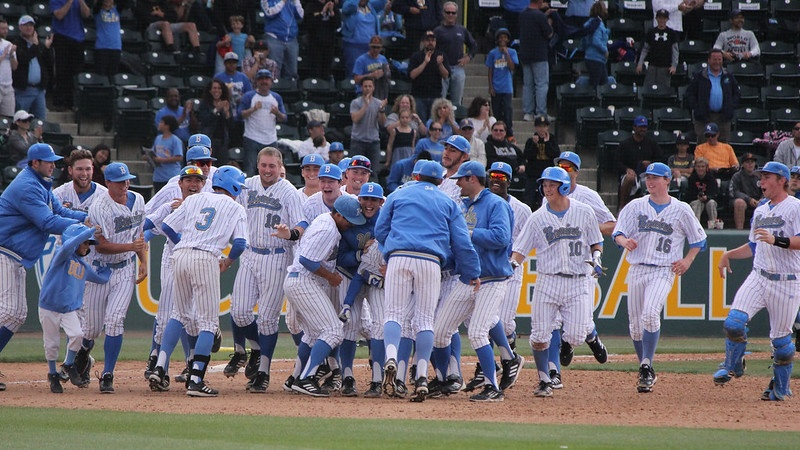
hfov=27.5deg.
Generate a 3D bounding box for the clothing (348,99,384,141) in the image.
[{"bbox_3d":[-0.775,-2.536,38.697,1.063,1.248,0.692,0,2,-10],"label":"clothing"}]

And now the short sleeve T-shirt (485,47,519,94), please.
[{"bbox_3d":[2.575,-3.872,40.566,0.788,1.131,0.494,2,0,-14],"label":"short sleeve T-shirt"}]

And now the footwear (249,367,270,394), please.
[{"bbox_3d":[-2.853,3.082,32.607,0.414,0.435,0.264,2,0,-10],"label":"footwear"}]

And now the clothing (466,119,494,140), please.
[{"bbox_3d":[1.852,-2.277,38.159,0.638,0.611,0.251,2,12,2],"label":"clothing"}]

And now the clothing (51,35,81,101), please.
[{"bbox_3d":[-8.281,-3.824,40.254,0.735,1.820,0.626,2,0,-13],"label":"clothing"}]

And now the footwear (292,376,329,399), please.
[{"bbox_3d":[-1.805,3.148,32.248,0.843,0.375,0.307,11,-3,-8],"label":"footwear"}]

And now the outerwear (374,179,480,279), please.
[{"bbox_3d":[0.620,0.131,32.438,2.582,2.180,1.637,2,-13,5],"label":"outerwear"}]

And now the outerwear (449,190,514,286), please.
[{"bbox_3d":[1.575,0.248,32.011,1.288,1.760,1.605,0,-11,-24],"label":"outerwear"}]

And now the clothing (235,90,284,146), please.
[{"bbox_3d":[-3.400,-2.582,38.582,1.270,1.349,0.753,-3,9,-34],"label":"clothing"}]

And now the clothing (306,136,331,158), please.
[{"bbox_3d":[-1.876,-1.860,38.131,0.422,0.513,0.206,2,-3,14],"label":"clothing"}]

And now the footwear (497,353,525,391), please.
[{"bbox_3d":[2.176,2.847,32.701,0.402,0.921,0.314,36,-23,-30],"label":"footwear"}]

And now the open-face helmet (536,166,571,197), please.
[{"bbox_3d":[3.145,-0.935,32.647,0.484,0.476,0.637,7,15,43],"label":"open-face helmet"}]

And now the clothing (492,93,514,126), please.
[{"bbox_3d":[2.551,-2.890,40.463,0.279,0.821,0.697,2,0,-31],"label":"clothing"}]

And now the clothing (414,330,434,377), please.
[{"bbox_3d":[0.464,2.476,31.766,0.352,0.919,0.416,2,0,2],"label":"clothing"}]

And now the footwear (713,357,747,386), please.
[{"bbox_3d":[6.756,2.810,32.862,0.989,0.410,0.324,-16,20,-40],"label":"footwear"}]

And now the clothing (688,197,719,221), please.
[{"bbox_3d":[6.974,-0.425,37.316,0.557,0.499,0.211,0,-5,-1],"label":"clothing"}]

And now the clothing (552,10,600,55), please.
[{"bbox_3d":[4.494,-4.971,41.472,1.204,1.194,0.428,1,-3,0],"label":"clothing"}]

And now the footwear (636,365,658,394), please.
[{"bbox_3d":[4.984,3.032,32.825,0.342,0.570,0.471,2,0,8],"label":"footwear"}]

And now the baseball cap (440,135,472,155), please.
[{"bbox_3d":[1.179,-1.619,32.794,0.474,0.238,0.341,24,8,-22],"label":"baseball cap"}]

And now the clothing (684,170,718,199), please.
[{"bbox_3d":[7.070,-0.951,37.985,0.760,0.712,0.280,2,0,8],"label":"clothing"}]

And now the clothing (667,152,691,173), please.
[{"bbox_3d":[6.728,-1.544,38.812,0.726,0.660,0.404,1,-7,10],"label":"clothing"}]

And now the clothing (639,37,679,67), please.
[{"bbox_3d":[6.692,-4.468,41.726,0.799,0.846,0.346,3,0,12],"label":"clothing"}]

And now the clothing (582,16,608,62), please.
[{"bbox_3d":[4.960,-4.781,41.371,0.648,1.087,0.849,-14,22,-27],"label":"clothing"}]

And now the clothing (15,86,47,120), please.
[{"bbox_3d":[-8.975,-3.008,39.531,0.797,0.810,0.202,2,0,-40],"label":"clothing"}]

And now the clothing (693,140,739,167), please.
[{"bbox_3d":[7.609,-1.711,38.999,1.042,0.642,0.766,2,0,7],"label":"clothing"}]

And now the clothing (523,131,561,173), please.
[{"bbox_3d":[3.347,-1.736,38.310,1.149,1.247,0.401,3,2,2],"label":"clothing"}]

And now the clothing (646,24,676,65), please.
[{"bbox_3d":[6.734,-4.646,41.658,0.979,1.077,0.608,1,8,3],"label":"clothing"}]

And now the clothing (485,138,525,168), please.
[{"bbox_3d":[2.478,-1.732,38.496,0.974,0.739,0.470,2,0,-5],"label":"clothing"}]

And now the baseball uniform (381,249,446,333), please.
[{"bbox_3d":[0.266,1.223,31.708,1.272,2.190,0.813,6,22,0],"label":"baseball uniform"}]

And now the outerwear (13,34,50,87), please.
[{"bbox_3d":[-8.947,-3.938,39.544,0.378,1.304,1.061,2,0,39],"label":"outerwear"}]

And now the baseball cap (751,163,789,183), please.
[{"bbox_3d":[7.532,-1.086,32.578,0.494,0.245,0.343,11,3,1],"label":"baseball cap"}]

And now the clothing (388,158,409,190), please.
[{"bbox_3d":[-0.030,-1.203,36.380,0.621,0.617,0.252,11,-13,43],"label":"clothing"}]

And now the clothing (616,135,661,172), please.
[{"bbox_3d":[5.701,-1.720,38.966,1.348,1.251,0.774,0,0,5],"label":"clothing"}]

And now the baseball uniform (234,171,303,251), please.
[{"bbox_3d":[-2.679,-0.266,32.757,1.466,1.212,0.527,7,-7,10],"label":"baseball uniform"}]
